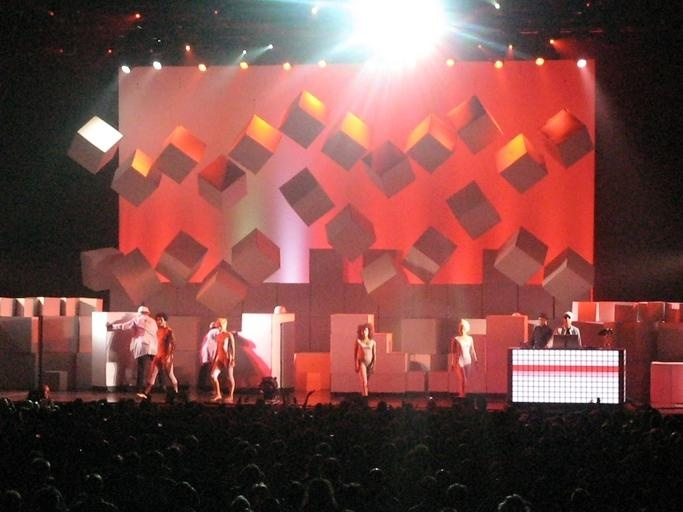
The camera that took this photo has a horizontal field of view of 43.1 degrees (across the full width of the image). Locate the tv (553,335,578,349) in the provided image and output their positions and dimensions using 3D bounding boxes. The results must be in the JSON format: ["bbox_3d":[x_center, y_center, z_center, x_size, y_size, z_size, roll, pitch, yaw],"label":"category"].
[{"bbox_3d":[2.611,1.007,10.049,0.304,0.165,0.153,-1,-10,5],"label":"tv"}]

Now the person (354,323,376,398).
[{"bbox_3d":[0.292,1.344,11.087,0.234,0.928,0.267,0,-10,0],"label":"person"}]

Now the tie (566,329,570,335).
[{"bbox_3d":[2.748,0.936,10.536,0.061,0.062,0.057,-2,-41,0],"label":"tie"}]

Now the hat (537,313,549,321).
[{"bbox_3d":[2.761,0.844,11.862,0.174,0.092,0.169,10,-1,-25],"label":"hat"}]
